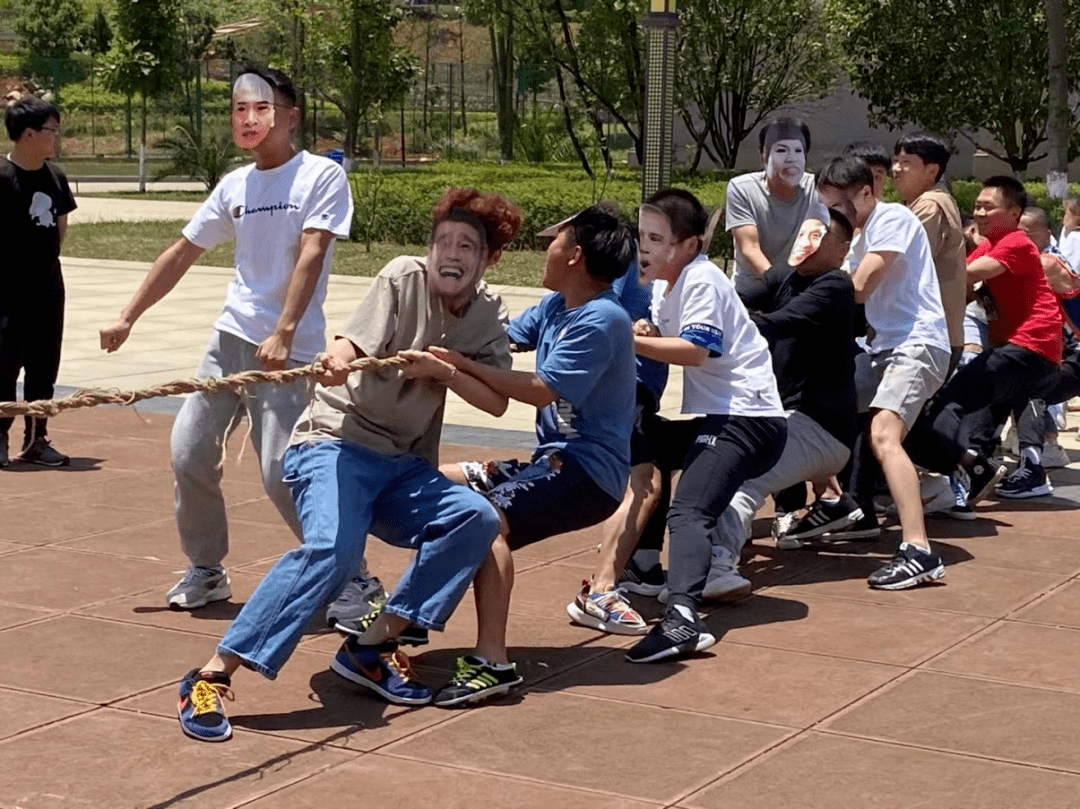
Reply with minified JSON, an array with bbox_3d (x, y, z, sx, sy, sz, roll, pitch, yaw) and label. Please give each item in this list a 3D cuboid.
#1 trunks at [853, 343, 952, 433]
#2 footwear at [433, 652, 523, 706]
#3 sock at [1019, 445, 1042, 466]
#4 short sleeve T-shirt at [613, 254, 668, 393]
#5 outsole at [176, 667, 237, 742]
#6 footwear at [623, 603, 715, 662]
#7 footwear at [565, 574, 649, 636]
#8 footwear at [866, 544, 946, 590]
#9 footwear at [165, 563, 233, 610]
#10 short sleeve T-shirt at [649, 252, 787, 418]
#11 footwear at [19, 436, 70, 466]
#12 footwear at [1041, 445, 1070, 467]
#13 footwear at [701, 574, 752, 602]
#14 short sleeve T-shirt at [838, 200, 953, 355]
[{"bbox_3d":[1.947,-0.114,5.894,0.491,0.436,0.481,5,9,26],"label":"trunks"},{"bbox_3d":[-0.219,1.007,3.940,0.370,0.161,0.124,-10,-9,-24],"label":"footwear"},{"bbox_3d":[3.329,0.358,7.253,0.152,0.124,0.136,0,-21,5],"label":"sock"},{"bbox_3d":[0.496,-0.373,4.974,0.248,0.739,0.270,-6,-7,16],"label":"short sleeve T-shirt"},{"bbox_3d":[-1.091,0.992,3.488,0.134,0.100,0.286,0,1,-28],"label":"outsole"},{"bbox_3d":[0.552,0.929,4.406,0.477,0.190,0.147,-7,8,-21],"label":"footwear"},{"bbox_3d":[0.303,0.893,4.702,0.168,0.183,0.437,-3,6,-36],"label":"footwear"},{"bbox_3d":[1.807,0.800,5.355,0.461,0.204,0.169,-7,6,-10],"label":"footwear"},{"bbox_3d":[-1.532,0.834,4.881,0.346,0.142,0.137,-1,-1,-44],"label":"footwear"},{"bbox_3d":[0.721,-0.289,4.942,0.805,0.717,0.663,-8,8,-37],"label":"short sleeve T-shirt"},{"bbox_3d":[-3.406,0.337,7.338,0.403,0.151,0.162,2,3,23],"label":"footwear"},{"bbox_3d":[3.822,0.392,7.909,0.195,0.178,0.077,-1,-19,-1],"label":"footwear"},{"bbox_3d":[0.853,0.832,4.912,0.122,0.096,0.272,-33,-23,32],"label":"footwear"},{"bbox_3d":[1.998,-0.687,6.066,0.653,0.840,0.850,0,-3,-10],"label":"short sleeve T-shirt"}]
